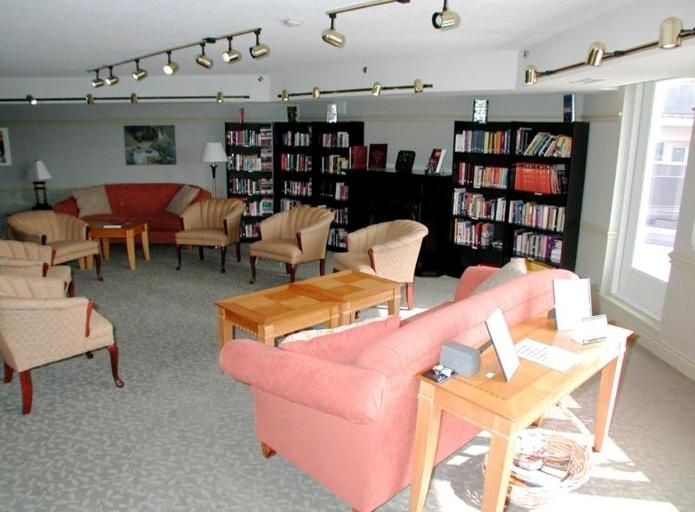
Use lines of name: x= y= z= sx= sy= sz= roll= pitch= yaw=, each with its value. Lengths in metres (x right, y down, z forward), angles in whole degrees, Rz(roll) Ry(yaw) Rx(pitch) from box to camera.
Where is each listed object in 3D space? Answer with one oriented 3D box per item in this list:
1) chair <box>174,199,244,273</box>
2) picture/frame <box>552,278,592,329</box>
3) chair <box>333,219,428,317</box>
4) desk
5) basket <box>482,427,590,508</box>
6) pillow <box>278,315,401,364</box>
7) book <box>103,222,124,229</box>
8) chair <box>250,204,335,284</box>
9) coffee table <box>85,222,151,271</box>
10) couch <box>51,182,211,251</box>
chair: x=-2.352 y=-0.423 z=8.468 sx=1.039 sy=1.147 sz=1.118 roll=1 pitch=11 yaw=-4
picture/frame: x=1.680 y=0.281 z=3.725 sx=0.255 sy=0.018 sz=0.286 roll=2 pitch=43 yaw=14
chair: x=0.457 y=0.189 z=6.767 sx=1.161 sy=1.074 sz=1.167 roll=1 pitch=6 yaw=14
desk: x=1.155 y=1.072 z=3.373 sx=1.173 sy=0.765 sz=0.447 roll=-17 pitch=27 yaw=-38
basket: x=1.374 y=1.521 z=3.476 sx=0.673 sy=0.241 sz=0.669 roll=-12 pitch=16 yaw=-28
pillow: x=-0.058 y=0.650 z=3.755 sx=0.436 sy=0.133 sz=0.430 roll=-10 pitch=10 yaw=-39
book: x=-3.825 y=-0.499 z=8.041 sx=0.189 sy=0.045 sz=0.175 roll=1 pitch=12 yaw=-3
chair: x=-0.830 y=-0.168 z=7.644 sx=1.075 sy=1.176 sz=1.110 roll=10 pitch=13 yaw=34
coffee table: x=-3.812 y=-0.104 z=8.404 sx=0.913 sy=0.701 sz=0.925 roll=3 pitch=15 yaw=10
couch: x=-4.085 y=-0.726 z=9.478 sx=2.682 sy=1.235 sz=1.204 roll=-1 pitch=11 yaw=-4
